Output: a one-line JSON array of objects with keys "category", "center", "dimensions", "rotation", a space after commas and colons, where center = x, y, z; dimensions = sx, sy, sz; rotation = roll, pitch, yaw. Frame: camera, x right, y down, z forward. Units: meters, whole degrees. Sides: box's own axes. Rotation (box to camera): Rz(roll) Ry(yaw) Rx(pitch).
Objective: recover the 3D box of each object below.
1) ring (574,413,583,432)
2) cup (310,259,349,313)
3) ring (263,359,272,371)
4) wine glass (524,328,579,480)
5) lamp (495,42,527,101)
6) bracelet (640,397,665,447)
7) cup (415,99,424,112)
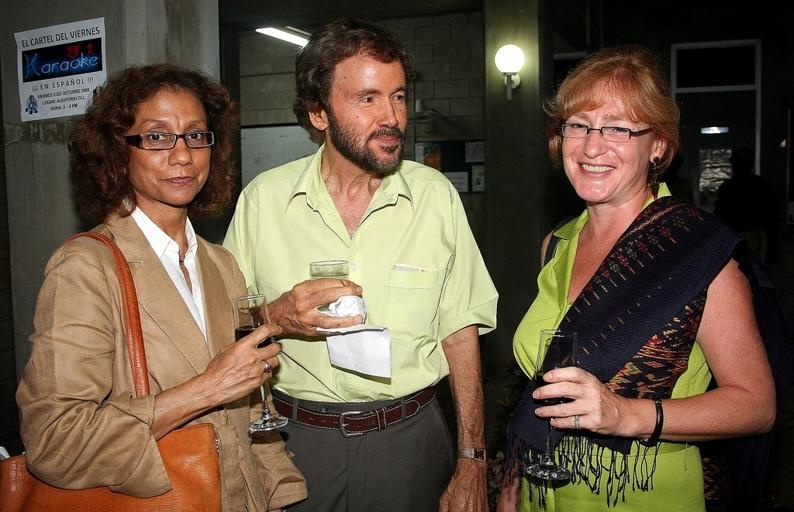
[{"category": "ring", "center": [0.787, 0.713, 2.991], "dimensions": [0.018, 0.059, 0.039], "rotation": [-3, 6, -8]}, {"category": "cup", "center": [-0.316, 0.136, 3.276], "dimensions": [0.205, 0.239, 0.209], "rotation": [-2, 5, 0]}, {"category": "ring", "center": [-0.570, 0.482, 3.065], "dimensions": [0.026, 0.050, 0.076], "rotation": [-1, 6, 12]}, {"category": "wine glass", "center": [0.703, 0.710, 3.155], "dimensions": [0.227, 0.764, 0.290], "rotation": [-1, 6, 13]}, {"category": "lamp", "center": [1.050, -1.775, 6.572], "dimensions": [0.373, 0.697, 0.437], "rotation": [-1, 9, 6]}, {"category": "bracelet", "center": [1.140, 0.753, 3.074], "dimensions": [0.051, 0.174, 0.162], "rotation": [3, 31, 18]}, {"category": "cup", "center": [0.283, -1.886, 8.684], "dimensions": [0.090, 0.157, 0.154], "rotation": [0, -5, 2]}]
